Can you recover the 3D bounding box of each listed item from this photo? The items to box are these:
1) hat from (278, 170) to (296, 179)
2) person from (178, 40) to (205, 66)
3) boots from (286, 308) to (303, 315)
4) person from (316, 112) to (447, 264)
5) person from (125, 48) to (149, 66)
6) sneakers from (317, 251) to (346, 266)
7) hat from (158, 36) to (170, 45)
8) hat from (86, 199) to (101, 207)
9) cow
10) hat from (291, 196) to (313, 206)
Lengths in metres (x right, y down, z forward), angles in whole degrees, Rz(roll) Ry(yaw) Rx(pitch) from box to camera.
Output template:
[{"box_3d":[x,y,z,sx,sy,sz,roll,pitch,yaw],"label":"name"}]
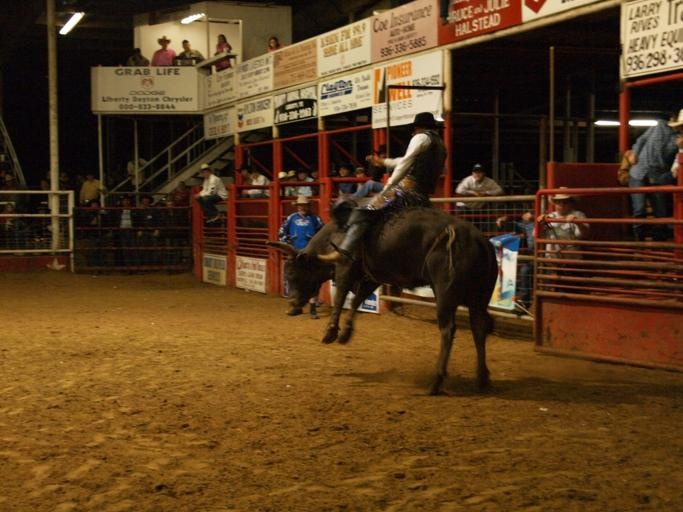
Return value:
[{"box_3d":[-1.289,-1.852,15.791,0.389,0.089,0.354,-16,-1,-32],"label":"hat"},{"box_3d":[-4.941,-6.531,22.083,0.799,0.766,0.907,-1,7,-12],"label":"person"},{"box_3d":[-0.567,0.696,8.154,0.167,0.086,0.082,10,-2,15],"label":"boots"},{"box_3d":[0.514,-0.788,7.930,1.455,1.661,0.779,2,0,14],"label":"person"},{"box_3d":[-6.717,-6.538,22.400,0.652,0.758,1.168,-1,7,-15],"label":"person"},{"box_3d":[-0.084,0.037,7.555,0.393,0.098,0.262,1,-1,1],"label":"sneakers"},{"box_3d":[-5.944,-7.116,22.653,0.424,0.131,0.361,0,-40,-22],"label":"hat"},{"box_3d":[-7.414,-1.532,20.161,0.396,0.076,0.383,-11,-13,33],"label":"hat"},{"box_3d":[0.408,0.342,7.969,1.150,1.740,3.242,4,6,-42],"label":"cow"},{"box_3d":[-0.662,-0.996,12.107,0.277,0.079,0.251,-4,-13,20],"label":"hat"}]
